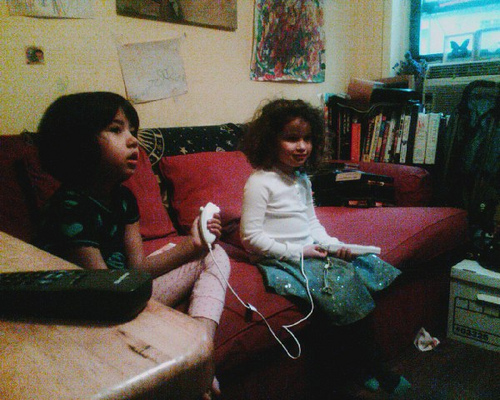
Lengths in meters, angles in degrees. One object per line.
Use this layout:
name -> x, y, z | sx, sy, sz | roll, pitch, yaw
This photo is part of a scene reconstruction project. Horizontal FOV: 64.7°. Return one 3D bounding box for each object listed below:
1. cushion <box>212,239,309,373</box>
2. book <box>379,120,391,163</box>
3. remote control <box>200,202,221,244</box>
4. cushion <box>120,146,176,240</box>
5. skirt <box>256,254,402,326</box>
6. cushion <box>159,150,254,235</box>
cushion -> -0.023, 0.286, 1.065 | 0.299, 0.091, 0.294 | -17, 46, -41
book -> 0.788, -0.359, 2.325 | 0.038, 0.211, 0.238 | 9, -7, 10
remote control -> -0.101, 0.061, 1.055 | 0.061, 0.093, 0.022 | 21, -30, -36
cushion -> -0.365, -0.019, 1.525 | 0.084, 0.277, 0.293 | -20, -8, 17
skirt -> 0.242, 0.243, 1.170 | 0.334, 0.120, 0.233 | 4, 9, -14
cushion -> -0.168, -0.048, 1.589 | 0.384, 0.339, 0.109 | -5, -20, -30
